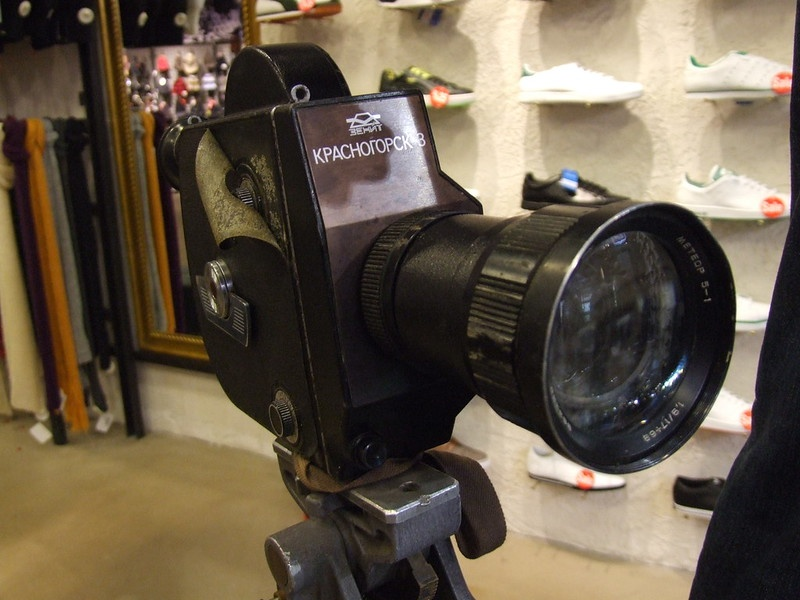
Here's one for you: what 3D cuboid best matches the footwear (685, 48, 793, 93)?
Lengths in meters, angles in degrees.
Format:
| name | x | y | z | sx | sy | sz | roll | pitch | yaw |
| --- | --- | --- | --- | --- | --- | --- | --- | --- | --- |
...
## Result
| name | x | y | z | sx | sy | sz | roll | pitch | yaw |
| --- | --- | --- | --- | --- | --- | --- | --- | --- | --- |
| footwear | 0.711 | -0.471 | 1.518 | 0.235 | 0.097 | 0.097 | 1 | 10 | 19 |

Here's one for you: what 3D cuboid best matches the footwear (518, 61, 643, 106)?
| name | x | y | z | sx | sy | sz | roll | pitch | yaw |
| --- | --- | --- | --- | --- | --- | --- | --- | --- | --- |
| footwear | 0.405 | -0.474 | 1.598 | 0.262 | 0.109 | 0.105 | 2 | 9 | 9 |

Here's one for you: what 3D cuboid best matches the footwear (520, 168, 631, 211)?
| name | x | y | z | sx | sy | sz | roll | pitch | yaw |
| --- | --- | --- | --- | --- | --- | --- | --- | --- | --- |
| footwear | 0.420 | -0.267 | 1.677 | 0.255 | 0.102 | 0.097 | 4 | 27 | 19 |

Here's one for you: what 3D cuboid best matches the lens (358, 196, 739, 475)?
| name | x | y | z | sx | sy | sz | roll | pitch | yaw |
| --- | --- | --- | --- | --- | --- | --- | --- | --- | --- |
| lens | 0.175 | 0.032 | 0.973 | 0.268 | 0.286 | 0.467 | -17 | 13 | -31 |
